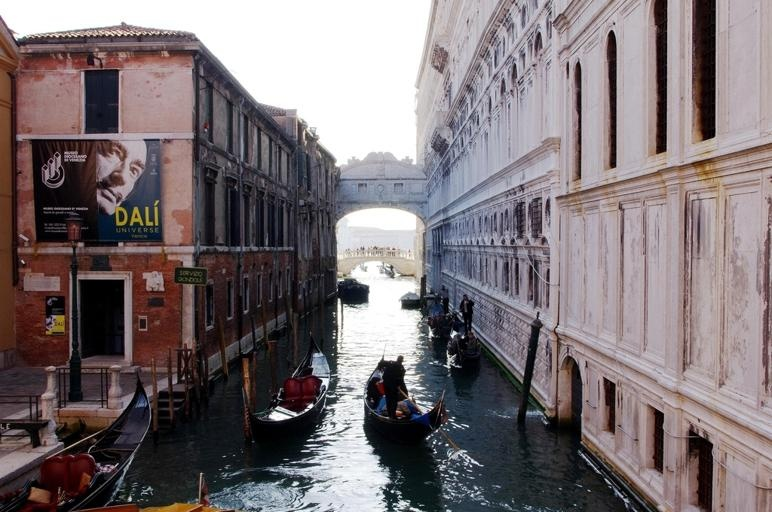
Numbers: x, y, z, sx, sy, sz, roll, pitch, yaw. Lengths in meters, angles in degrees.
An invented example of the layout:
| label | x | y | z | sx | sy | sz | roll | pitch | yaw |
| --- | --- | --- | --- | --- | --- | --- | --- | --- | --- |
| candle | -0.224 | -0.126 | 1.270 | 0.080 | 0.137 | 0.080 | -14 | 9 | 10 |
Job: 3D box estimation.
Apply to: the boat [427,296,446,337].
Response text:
| label | x | y | z | sx | sy | sz | roll | pitch | yaw |
| --- | --- | --- | --- | --- | --- | --- | --- | --- | --- |
| boat | 2.834 | 3.381 | 39.257 | 1.116 | 2.108 | 5.128 | -2 | -7 | 1 |

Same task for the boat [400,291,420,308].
| label | x | y | z | sx | sy | sz | roll | pitch | yaw |
| --- | --- | --- | --- | --- | --- | --- | --- | --- | --- |
| boat | 1.812 | 3.333 | 51.597 | 1.374 | 0.782 | 2.387 | 0 | 10 | 2 |

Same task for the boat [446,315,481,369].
| label | x | y | z | sx | sy | sz | roll | pitch | yaw |
| --- | --- | --- | --- | --- | --- | --- | --- | --- | --- |
| boat | 3.235 | 4.026 | 29.840 | 1.090 | 1.717 | 2.638 | -1 | 10 | -2 |
